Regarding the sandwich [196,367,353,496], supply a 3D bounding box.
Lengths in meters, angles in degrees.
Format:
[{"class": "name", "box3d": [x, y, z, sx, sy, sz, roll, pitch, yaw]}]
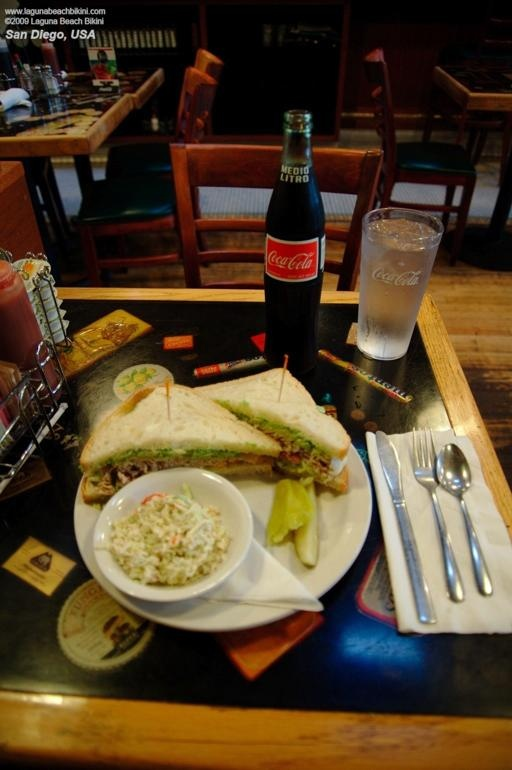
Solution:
[{"class": "sandwich", "box3d": [0.041, 0.099, 0.916, 0.173, 0.065, 0.214, -10, 44, -34]}]

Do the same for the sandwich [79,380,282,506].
[{"class": "sandwich", "box3d": [-0.113, 0.098, 0.892, 0.327, 0.090, 0.235, 9, 29, 34]}]
